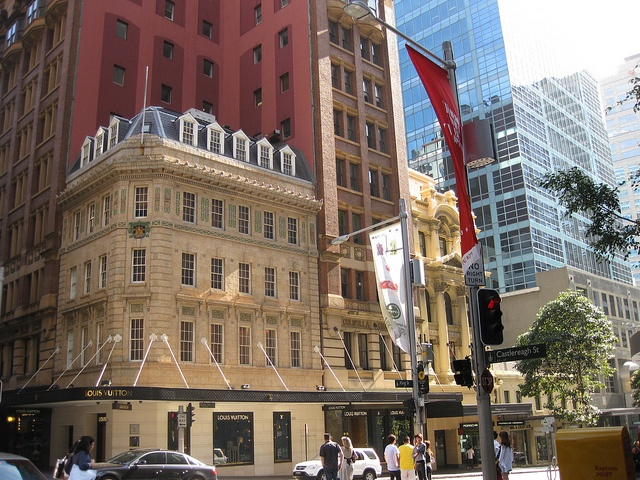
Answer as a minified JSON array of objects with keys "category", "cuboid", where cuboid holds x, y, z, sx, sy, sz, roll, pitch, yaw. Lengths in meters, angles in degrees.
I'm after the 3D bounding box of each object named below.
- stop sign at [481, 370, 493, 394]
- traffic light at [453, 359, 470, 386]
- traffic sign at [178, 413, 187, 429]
[{"category":"stop sign","cuboid":[5.454,4.590,21.147,0.328,0.774,0.499,-15,-25,29]},{"category":"traffic light","cuboid":[4.913,4.476,22.354,0.581,0.979,0.805,-7,-22,10]},{"category":"traffic sign","cuboid":[-7.302,9.487,34.391,0.547,0.863,0.593,-1,-12,-1]}]
